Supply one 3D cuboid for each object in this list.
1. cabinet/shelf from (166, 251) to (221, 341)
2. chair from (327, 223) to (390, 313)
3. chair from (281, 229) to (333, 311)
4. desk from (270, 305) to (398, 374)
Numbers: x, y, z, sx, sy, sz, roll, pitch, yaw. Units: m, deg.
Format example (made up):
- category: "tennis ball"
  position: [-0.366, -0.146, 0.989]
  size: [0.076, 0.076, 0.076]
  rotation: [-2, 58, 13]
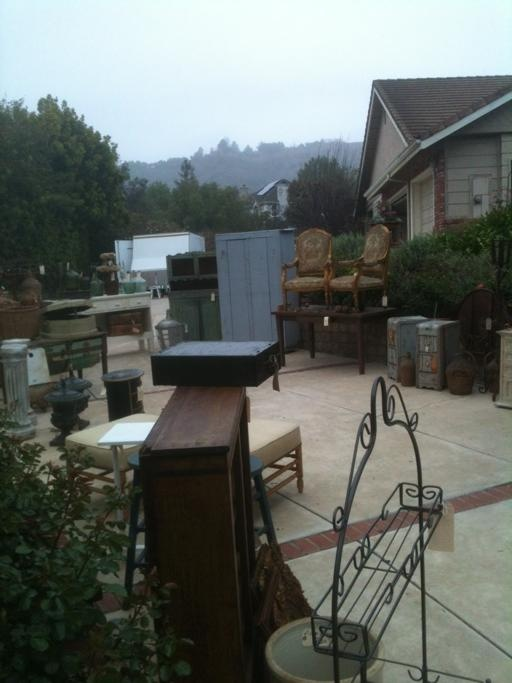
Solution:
- category: "cabinet/shelf"
  position: [-1.282, -0.872, 11.032]
  size: [1.090, 2.017, 0.784]
  rotation: [-7, 13, -20]
- category: "chair"
  position: [1.453, -1.059, 7.415]
  size: [0.705, 1.289, 0.676]
  rotation: [-3, 8, -21]
- category: "chair"
  position: [0.809, -1.071, 7.879]
  size: [0.688, 1.379, 0.765]
  rotation: [1, 3, 22]
- category: "desk"
  position: [1.197, -0.363, 7.692]
  size: [1.530, 0.953, 1.003]
  rotation: [7, 16, 38]
